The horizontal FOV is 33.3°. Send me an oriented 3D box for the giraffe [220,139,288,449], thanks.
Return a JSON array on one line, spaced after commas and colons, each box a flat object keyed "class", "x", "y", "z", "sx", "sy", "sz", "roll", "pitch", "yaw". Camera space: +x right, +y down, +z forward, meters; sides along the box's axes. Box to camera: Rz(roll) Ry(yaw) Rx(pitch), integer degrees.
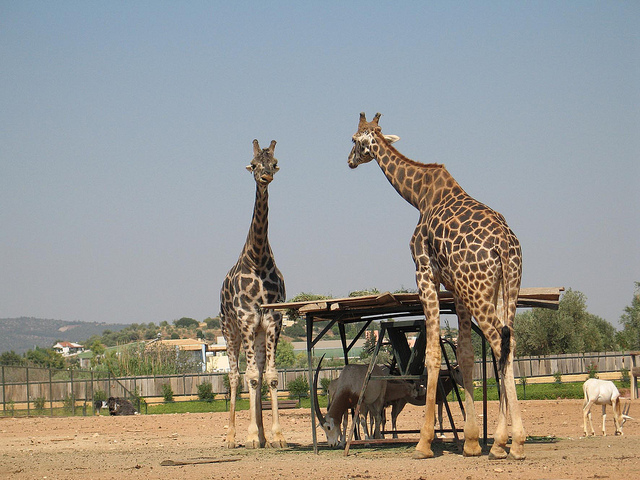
[{"class": "giraffe", "x": -2.299, "y": 1.946, "z": 37.489, "sx": 1.628, "sy": 10.569, "sz": 3.116, "roll": 3, "pitch": -10, "yaw": -29}]
